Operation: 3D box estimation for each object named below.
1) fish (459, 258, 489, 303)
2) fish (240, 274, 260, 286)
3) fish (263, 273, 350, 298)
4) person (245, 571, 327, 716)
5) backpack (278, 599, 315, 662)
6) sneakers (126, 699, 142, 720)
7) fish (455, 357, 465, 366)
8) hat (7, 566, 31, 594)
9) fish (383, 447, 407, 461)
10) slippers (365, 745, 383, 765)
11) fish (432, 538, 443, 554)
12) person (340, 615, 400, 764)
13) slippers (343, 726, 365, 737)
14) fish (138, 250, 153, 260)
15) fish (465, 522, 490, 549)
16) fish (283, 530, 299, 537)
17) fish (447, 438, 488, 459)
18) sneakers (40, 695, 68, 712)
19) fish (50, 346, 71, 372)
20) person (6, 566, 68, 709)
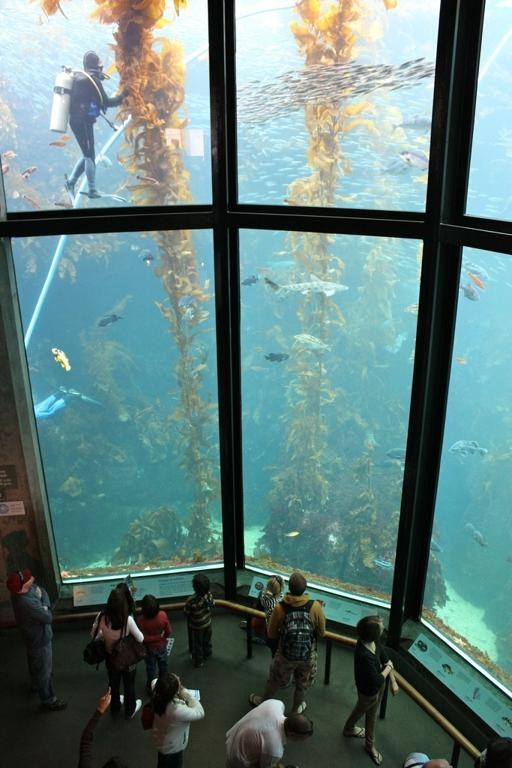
[{"bbox_3d":[1.452,-0.692,3.717,0.020,0.273,0.244,-8,23,-21],"label":"fish"},{"bbox_3d":[-0.055,-0.900,4.935,0.168,0.062,0.083,-22,45,15],"label":"fish"},{"bbox_3d":[0.455,-0.846,4.739,0.836,0.251,0.238,5,26,13],"label":"fish"},{"bbox_3d":[0.217,1.809,3.878,0.446,1.215,0.440,6,22,8],"label":"person"},{"bbox_3d":[0.264,1.609,3.643,0.219,0.383,0.157,0,21,-1],"label":"backpack"},{"bbox_3d":[-0.907,2.438,4.183,0.044,0.059,0.137,19,27,2],"label":"sneakers"},{"bbox_3d":[1.456,-0.164,3.971,0.007,0.068,0.085,-9,23,-22],"label":"fish"},{"bbox_3d":[-1.630,1.364,3.863,0.126,0.192,0.152,-1,-5,23],"label":"hat"},{"bbox_3d":[1.151,0.574,4.604,0.015,0.146,0.170,-17,27,-38],"label":"fish"},{"bbox_3d":[0.813,2.525,3.794,0.051,0.061,0.151,-1,-3,-4],"label":"slippers"},{"bbox_3d":[1.450,1.318,4.497,0.008,0.102,0.126,-7,23,-19],"label":"fish"},{"bbox_3d":[0.808,2.192,3.911,0.416,1.295,0.430,6,44,13],"label":"person"},{"bbox_3d":[0.701,2.491,3.963,0.139,0.055,0.077,-2,12,0],"label":"slippers"},{"bbox_3d":[-0.940,-1.105,4.799,0.090,0.070,0.044,0,13,-2],"label":"fish"},{"bbox_3d":[1.603,1.102,4.053,0.055,0.073,0.175,-4,50,-12],"label":"fish"},{"bbox_3d":[0.352,1.485,5.540,0.157,0.070,0.051,-6,-18,41],"label":"fish"},{"bbox_3d":[1.515,0.462,3.989,0.056,0.127,0.266,7,6,-32],"label":"fish"},{"bbox_3d":[-1.547,2.469,4.308,0.215,0.099,0.083,0,9,-1],"label":"sneakers"},{"bbox_3d":[-1.725,-0.224,4.932,0.115,0.194,0.051,-38,22,-27],"label":"fish"},{"bbox_3d":[-1.771,2.076,4.460,0.318,1.447,0.429,-17,39,-24],"label":"person"}]
